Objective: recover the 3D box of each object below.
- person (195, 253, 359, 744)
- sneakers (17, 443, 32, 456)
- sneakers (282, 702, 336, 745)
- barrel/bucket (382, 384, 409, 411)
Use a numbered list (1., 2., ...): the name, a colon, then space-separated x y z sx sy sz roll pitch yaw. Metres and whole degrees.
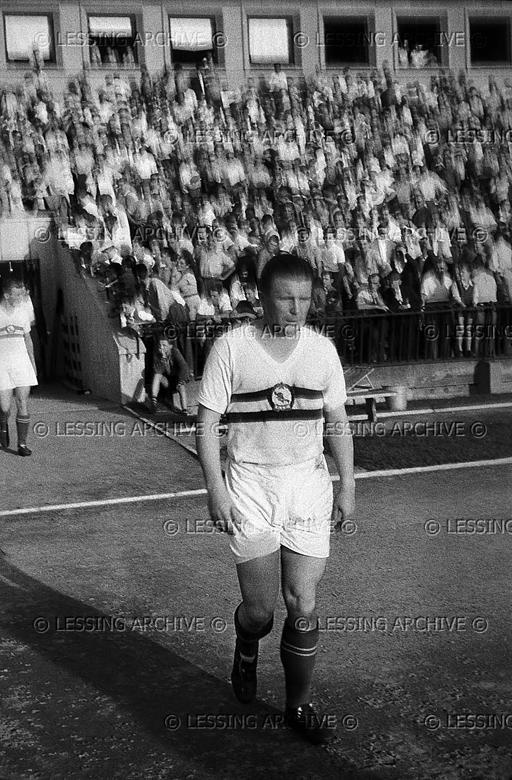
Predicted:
1. person: 0.083 0.409 3.078 0.588 1.793 0.362 -2 5 -4
2. sneakers: -2.613 0.677 9.478 0.080 0.095 0.234 1 9 -6
3. sneakers: 0.202 1.234 3.191 0.198 0.201 0.101 -2 24 28
4. barrel/bucket: 1.974 0.093 11.993 0.346 0.393 0.359 -2 4 0
